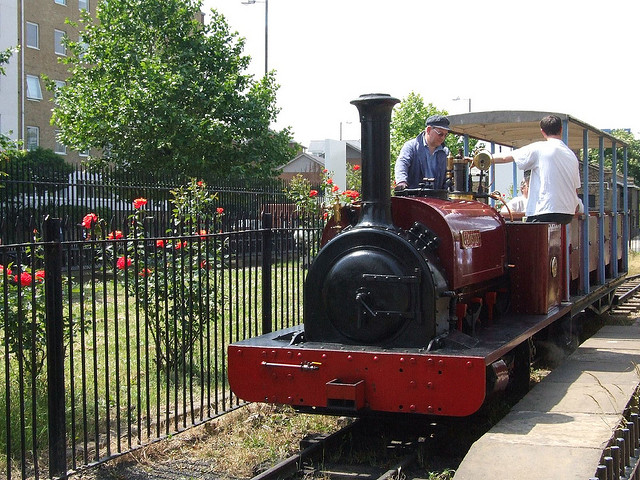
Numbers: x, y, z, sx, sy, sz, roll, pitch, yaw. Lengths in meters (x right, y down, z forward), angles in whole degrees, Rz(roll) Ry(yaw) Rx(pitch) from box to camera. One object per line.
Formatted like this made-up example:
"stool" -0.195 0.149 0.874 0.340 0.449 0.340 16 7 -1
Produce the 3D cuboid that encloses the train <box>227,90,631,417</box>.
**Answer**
"train" 2.383 -0.139 10.142 2.421 3.404 7.892 1 1 24

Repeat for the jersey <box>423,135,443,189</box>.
"jersey" 1.299 -0.935 8.744 0.212 0.635 0.437 -2 1 17

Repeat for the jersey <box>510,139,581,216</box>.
"jersey" 2.835 -0.785 9.396 1.143 1.078 0.591 3 -1 -7
